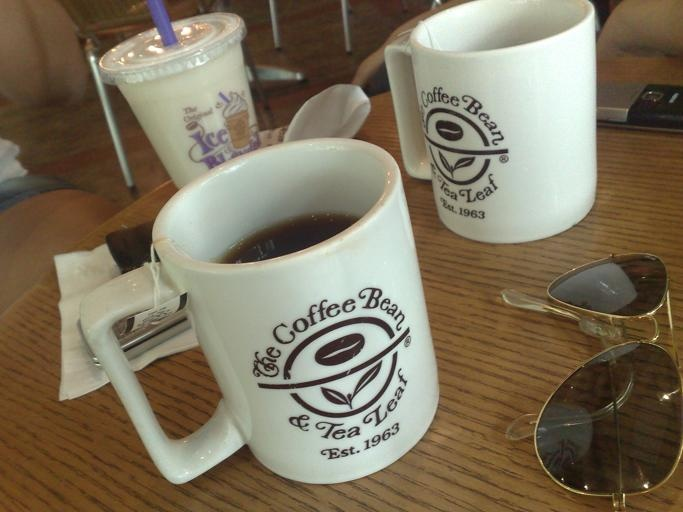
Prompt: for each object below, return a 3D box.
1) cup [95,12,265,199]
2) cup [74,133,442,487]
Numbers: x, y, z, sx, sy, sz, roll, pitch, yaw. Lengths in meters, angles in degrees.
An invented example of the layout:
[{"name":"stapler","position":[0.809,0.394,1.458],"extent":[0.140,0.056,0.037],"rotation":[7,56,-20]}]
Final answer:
[{"name":"cup","position":[-0.175,-0.213,0.821],"extent":[0.220,0.203,0.219],"rotation":[-15,39,12]},{"name":"cup","position":[-0.028,0.014,0.539],"extent":[0.332,0.275,0.207],"rotation":[-25,42,-19]}]
